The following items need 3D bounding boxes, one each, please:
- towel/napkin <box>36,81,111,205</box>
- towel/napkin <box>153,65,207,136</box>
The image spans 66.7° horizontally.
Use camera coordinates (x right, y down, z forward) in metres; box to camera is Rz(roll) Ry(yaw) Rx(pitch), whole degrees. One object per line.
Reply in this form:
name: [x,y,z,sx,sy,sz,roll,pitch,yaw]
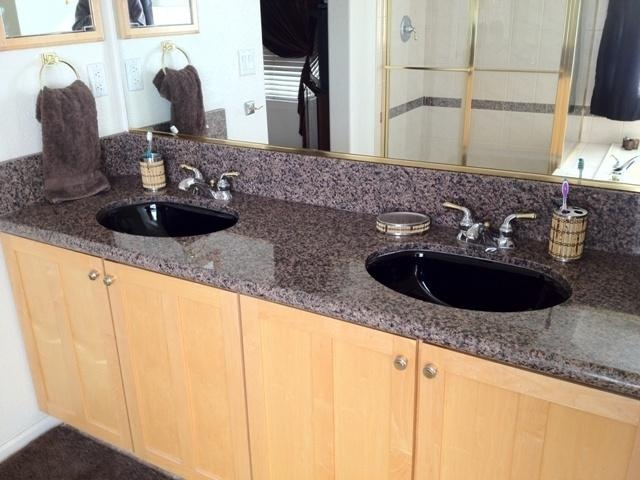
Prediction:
towel/napkin: [-1.010,-0.402,1.982,0.136,0.432,0.342,8,12,32]
towel/napkin: [-0.586,-0.603,2.088,0.235,0.295,0.104,4,15,16]
